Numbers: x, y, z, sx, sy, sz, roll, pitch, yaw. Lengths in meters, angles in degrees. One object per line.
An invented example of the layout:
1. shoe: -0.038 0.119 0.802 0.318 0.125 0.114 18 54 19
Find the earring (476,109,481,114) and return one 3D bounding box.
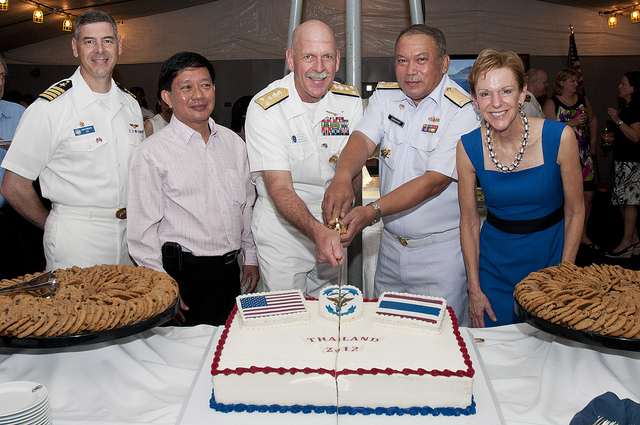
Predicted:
1. earring: 1.031 -0.655 3.070 0.033 0.027 0.013 -18 22 -42

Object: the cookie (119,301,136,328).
1. cookie: -0.916 0.485 2.252 0.061 0.086 0.012 8 -24 -13

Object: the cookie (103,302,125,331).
1. cookie: -0.968 0.488 2.239 0.065 0.012 0.095 5 54 4

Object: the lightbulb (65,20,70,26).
1. lightbulb: -4.817 -3.621 8.973 0.074 0.095 0.095 -15 21 -37

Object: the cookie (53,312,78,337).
1. cookie: -1.182 0.525 2.182 0.110 0.073 0.057 -16 21 -38

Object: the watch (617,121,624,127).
1. watch: 3.889 -1.147 6.093 0.017 0.060 0.044 22 11 15

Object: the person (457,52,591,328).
1. person: 1.300 0.206 3.064 0.716 2.419 0.708 5 27 39

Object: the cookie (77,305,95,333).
1. cookie: -1.075 0.502 2.206 0.023 0.085 0.086 29 51 -21

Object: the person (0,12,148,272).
1. person: -1.645 -0.428 3.146 0.906 1.716 0.473 -9 17 -22

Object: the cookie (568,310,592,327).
1. cookie: 1.233 0.508 2.226 0.117 0.064 0.034 -8 17 -18

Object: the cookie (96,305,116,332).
1. cookie: -1.006 0.504 2.222 0.024 0.088 0.090 23 39 -41
